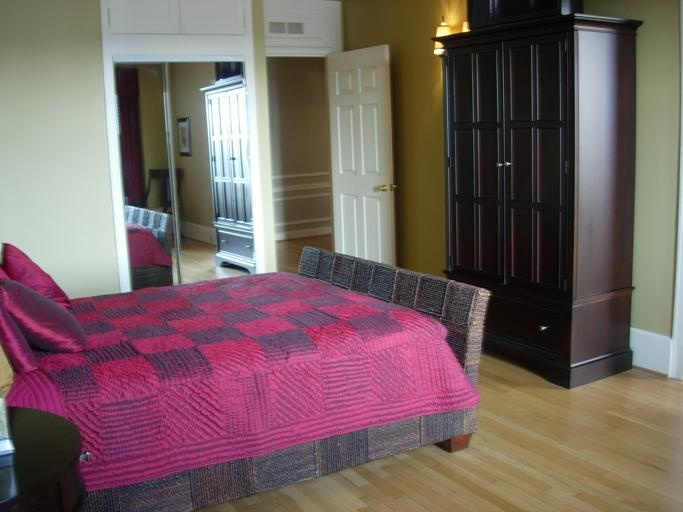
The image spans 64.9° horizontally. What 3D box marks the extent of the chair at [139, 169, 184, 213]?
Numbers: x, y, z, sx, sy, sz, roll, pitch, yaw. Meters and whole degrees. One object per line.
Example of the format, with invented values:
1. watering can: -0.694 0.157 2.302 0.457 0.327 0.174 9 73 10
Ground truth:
1. chair: -1.724 -0.619 5.146 0.367 0.535 0.379 7 8 37
